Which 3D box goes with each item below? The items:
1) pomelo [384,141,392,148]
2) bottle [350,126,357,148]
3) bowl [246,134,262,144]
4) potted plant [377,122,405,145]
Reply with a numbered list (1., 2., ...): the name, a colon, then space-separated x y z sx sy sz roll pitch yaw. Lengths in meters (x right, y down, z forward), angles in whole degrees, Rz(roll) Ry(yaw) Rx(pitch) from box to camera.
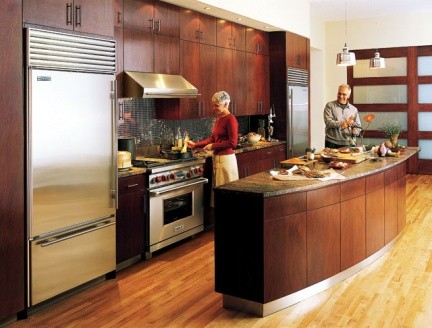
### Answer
1. pomelo: 2.456 -0.281 4.721 0.115 0.058 0.091 5 18 -4
2. bottle: 1.918 -0.388 4.641 0.081 0.296 0.448 2 10 22
3. bowl: 0.675 -0.465 6.085 0.211 0.098 0.201 0 -3 0
4. potted plant: 2.651 -0.441 5.021 0.326 0.331 0.299 -5 -5 -13
